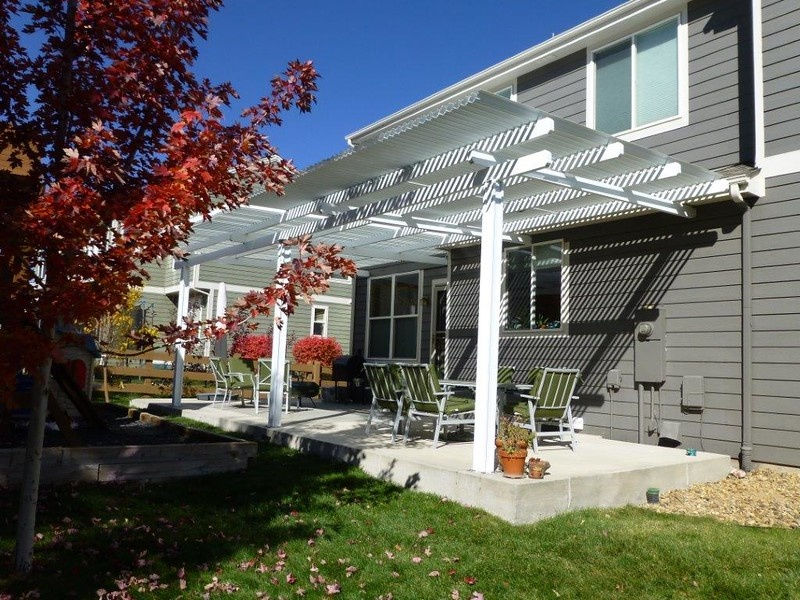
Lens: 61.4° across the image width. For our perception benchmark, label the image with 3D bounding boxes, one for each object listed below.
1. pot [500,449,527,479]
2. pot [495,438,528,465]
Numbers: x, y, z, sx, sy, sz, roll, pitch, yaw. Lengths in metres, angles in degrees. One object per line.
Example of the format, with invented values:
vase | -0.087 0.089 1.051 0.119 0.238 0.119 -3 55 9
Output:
pot | 1.032 1.487 6.194 0.299 0.185 0.264 3 -12 -11
pot | 1.031 1.390 6.262 0.237 0.123 0.232 -1 -8 0
